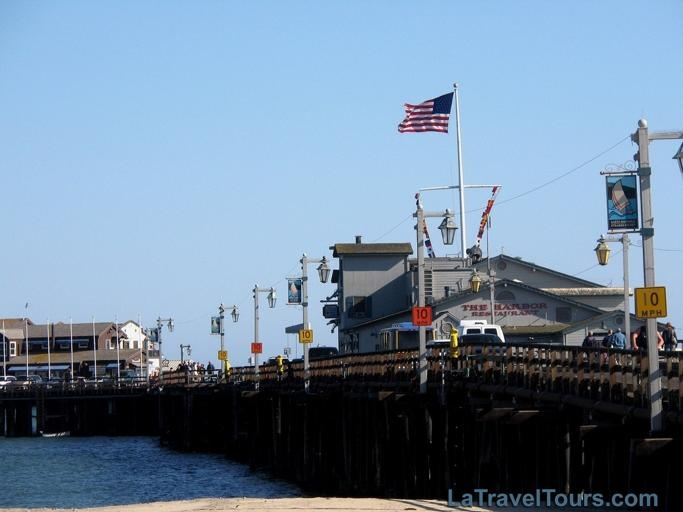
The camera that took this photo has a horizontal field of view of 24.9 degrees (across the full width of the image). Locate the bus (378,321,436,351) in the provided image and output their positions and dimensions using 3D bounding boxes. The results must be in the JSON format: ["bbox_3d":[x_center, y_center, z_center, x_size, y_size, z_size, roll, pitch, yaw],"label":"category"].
[{"bbox_3d":[3.658,4.344,88.759,2.559,2.049,2.979,-1,-11,-15],"label":"bus"}]

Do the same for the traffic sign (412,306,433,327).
[{"bbox_3d":[3.855,2.846,74.068,0.872,0.934,0.893,0,-3,1],"label":"traffic sign"}]

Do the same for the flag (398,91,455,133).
[{"bbox_3d":[5.095,-8.906,96.501,3.204,2.907,0.189,0,-26,12],"label":"flag"}]

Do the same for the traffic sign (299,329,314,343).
[{"bbox_3d":[-1.955,4.298,83.495,0.660,0.696,0.901,-14,5,-9],"label":"traffic sign"}]
